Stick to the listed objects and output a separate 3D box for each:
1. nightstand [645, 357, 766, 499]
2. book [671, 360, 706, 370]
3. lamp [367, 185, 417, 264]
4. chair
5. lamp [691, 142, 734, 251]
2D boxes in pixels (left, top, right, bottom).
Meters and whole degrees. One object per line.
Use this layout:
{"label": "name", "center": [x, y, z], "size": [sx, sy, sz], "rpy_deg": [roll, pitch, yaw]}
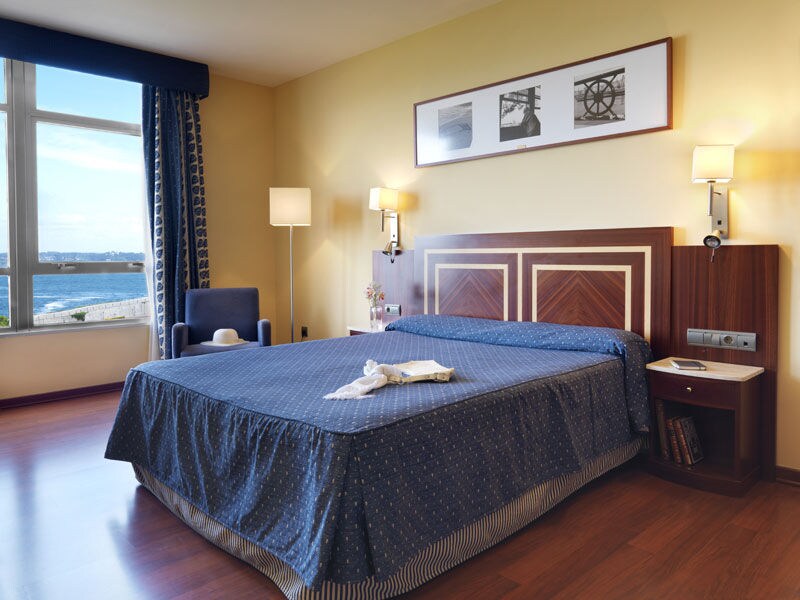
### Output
{"label": "nightstand", "center": [1.864, 0.754, 3.513], "size": [0.446, 0.706, 0.544], "rpy_deg": [-5, 6, -41]}
{"label": "book", "center": [1.749, 0.381, 3.466], "size": [0.182, 0.024, 0.211], "rpy_deg": [3, 13, 14]}
{"label": "lamp", "center": [-0.117, -0.695, 5.183], "size": [0.288, 0.595, 0.269], "rpy_deg": [1, 6, -22]}
{"label": "chair", "center": [-1.615, 0.350, 5.167], "size": [0.797, 0.961, 0.715], "rpy_deg": [-1, -2, -20]}
{"label": "lamp", "center": [1.929, -0.641, 3.534], "size": [0.233, 0.627, 0.202], "rpy_deg": [7, 15, 29]}
